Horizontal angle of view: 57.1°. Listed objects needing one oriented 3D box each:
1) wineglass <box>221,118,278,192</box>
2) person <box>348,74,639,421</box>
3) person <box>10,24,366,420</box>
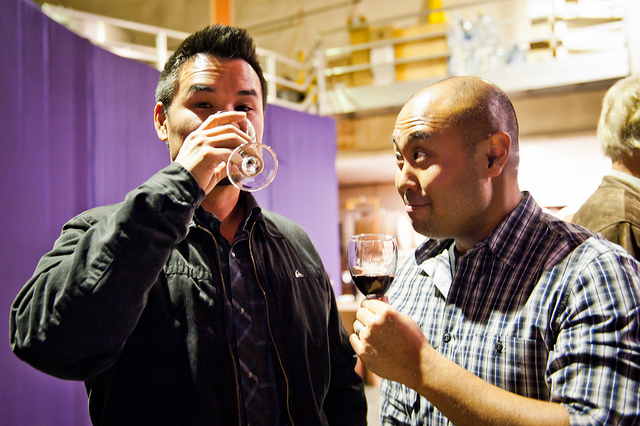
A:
[{"bbox_3d":[-0.310,-0.227,2.631,0.278,0.291,0.364,15,8,-16],"label":"wineglass"},{"bbox_3d":[0.777,0.109,2.705,1.195,1.499,0.553,0,-3,8],"label":"person"},{"bbox_3d":[-0.528,0.047,2.642,1.482,1.879,0.595,3,-4,-34],"label":"person"}]
